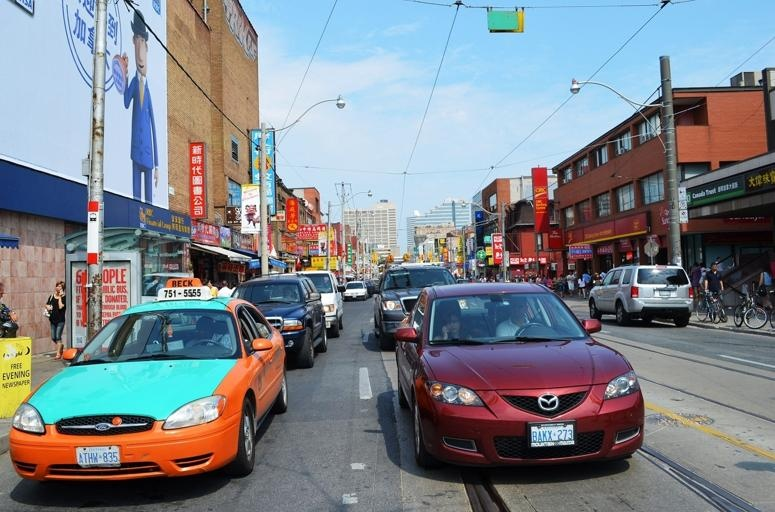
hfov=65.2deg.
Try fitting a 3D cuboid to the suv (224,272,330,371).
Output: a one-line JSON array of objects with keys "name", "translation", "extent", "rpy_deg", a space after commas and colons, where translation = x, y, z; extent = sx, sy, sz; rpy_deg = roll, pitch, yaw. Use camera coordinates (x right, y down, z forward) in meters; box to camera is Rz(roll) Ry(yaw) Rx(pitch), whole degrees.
[{"name": "suv", "translation": [-2.420, 1.413, 14.544], "extent": [1.335, 1.347, 2.918], "rpy_deg": [-1, -6, 3]}]

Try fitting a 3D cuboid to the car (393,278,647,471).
[{"name": "car", "translation": [1.704, 1.598, 8.042], "extent": [3.117, 2.230, 2.118], "rpy_deg": [-1, 2, 23]}]

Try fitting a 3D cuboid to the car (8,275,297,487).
[{"name": "car", "translation": [-3.069, 1.708, 8.077], "extent": [3.380, 2.343, 2.321], "rpy_deg": [-3, 3, -34]}]

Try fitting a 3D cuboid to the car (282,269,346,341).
[{"name": "car", "translation": [-2.001, 1.370, 16.653], "extent": [1.926, 1.786, 3.659], "rpy_deg": [-1, -2, 2]}]
